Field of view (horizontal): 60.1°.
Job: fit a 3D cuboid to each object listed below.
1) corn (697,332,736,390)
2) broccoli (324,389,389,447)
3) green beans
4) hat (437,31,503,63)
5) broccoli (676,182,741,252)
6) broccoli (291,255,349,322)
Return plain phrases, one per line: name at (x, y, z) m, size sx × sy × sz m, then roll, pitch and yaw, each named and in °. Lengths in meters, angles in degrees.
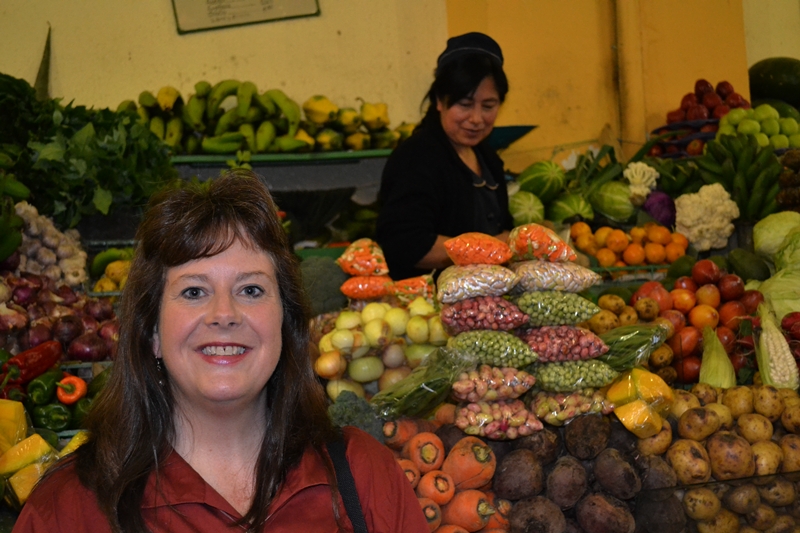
corn at (1.791, 0.512, 3.911) m, size 0.187 × 0.303 × 0.356 m, roll 0°, pitch 9°, yaw 26°
broccoli at (-0.185, 0.640, 3.051) m, size 0.225 × 0.187 × 0.093 m, roll 13°, pitch -24°, yaw -6°
green beans at (0.585, 0.304, 3.164) m, size 0.847 × 0.428 × 0.419 m, roll -2°, pitch 18°, yaw -12°
hat at (0.411, -1.301, 4.119) m, size 0.359 × 0.214 × 0.201 m, roll -6°, pitch 8°, yaw -8°
broccoli at (2.290, -0.362, 5.185) m, size 0.412 × 0.483 × 0.168 m, roll 0°, pitch 9°, yaw 26°
broccoli at (-0.454, 0.122, 3.972) m, size 0.280 × 0.323 × 0.254 m, roll 5°, pitch -7°, yaw -15°
